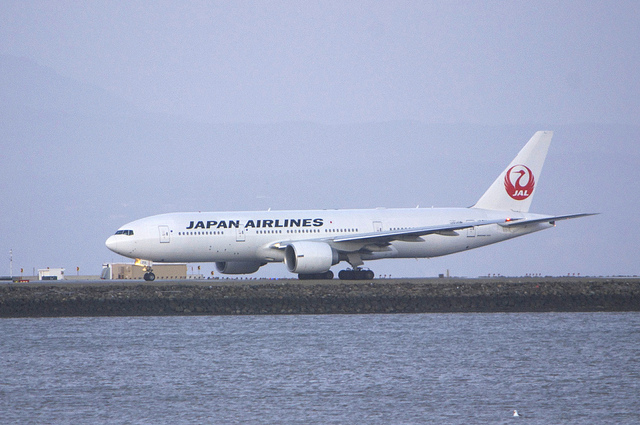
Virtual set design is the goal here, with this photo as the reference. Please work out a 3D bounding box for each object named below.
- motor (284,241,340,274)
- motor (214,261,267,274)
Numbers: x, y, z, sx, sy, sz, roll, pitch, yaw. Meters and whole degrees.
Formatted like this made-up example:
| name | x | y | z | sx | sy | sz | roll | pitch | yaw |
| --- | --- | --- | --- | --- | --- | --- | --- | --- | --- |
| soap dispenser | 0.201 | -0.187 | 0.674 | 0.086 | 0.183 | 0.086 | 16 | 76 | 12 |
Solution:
| name | x | y | z | sx | sy | sz | roll | pitch | yaw |
| --- | --- | --- | --- | --- | --- | --- | --- | --- | --- |
| motor | -0.279 | 2.083 | 59.840 | 2.414 | 1.427 | 1.967 | 2 | -3 | -16 |
| motor | -3.990 | 2.735 | 64.561 | 2.554 | 0.918 | 1.042 | 1 | 3 | -25 |
